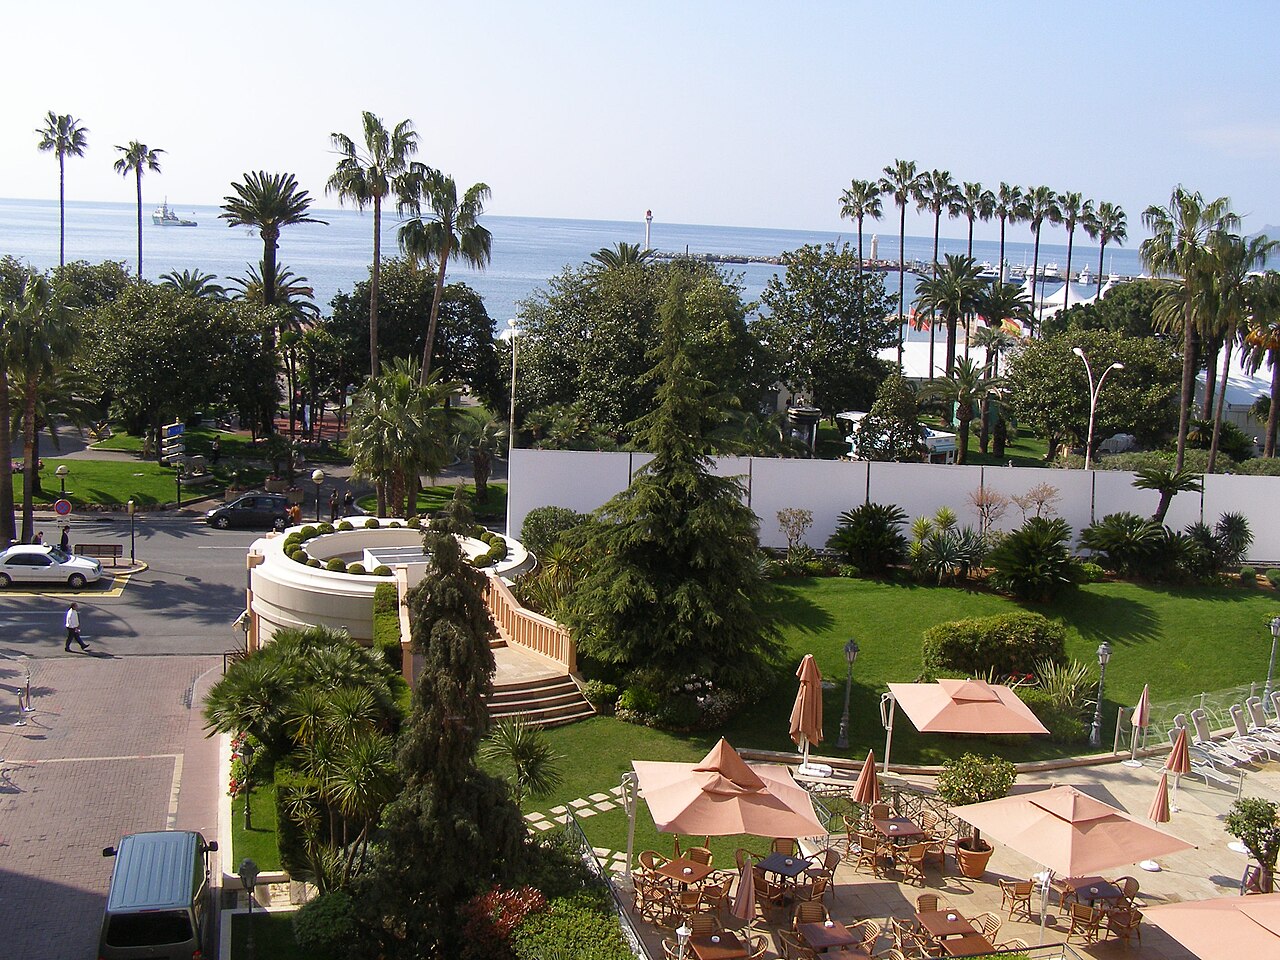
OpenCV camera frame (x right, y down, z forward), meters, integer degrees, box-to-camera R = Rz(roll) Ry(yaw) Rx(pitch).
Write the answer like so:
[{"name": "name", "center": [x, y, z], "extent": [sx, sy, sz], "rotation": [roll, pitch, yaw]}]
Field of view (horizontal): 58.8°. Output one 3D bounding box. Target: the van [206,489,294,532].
[{"name": "van", "center": [-18.145, 1.537, 53.711], "extent": [3.017, 1.658, 2.076], "rotation": [3, 0, -6]}]
